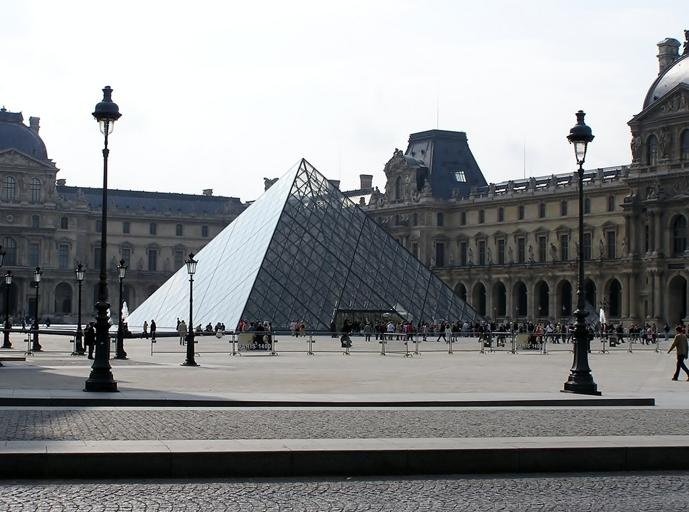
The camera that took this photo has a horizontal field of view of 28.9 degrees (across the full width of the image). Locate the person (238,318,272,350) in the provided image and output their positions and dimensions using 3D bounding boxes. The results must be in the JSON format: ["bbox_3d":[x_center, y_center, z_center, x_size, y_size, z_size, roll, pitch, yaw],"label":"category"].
[{"bbox_3d":[-3.176,3.000,47.515,1.151,1.011,0.671,2,2,-14],"label":"person"}]
